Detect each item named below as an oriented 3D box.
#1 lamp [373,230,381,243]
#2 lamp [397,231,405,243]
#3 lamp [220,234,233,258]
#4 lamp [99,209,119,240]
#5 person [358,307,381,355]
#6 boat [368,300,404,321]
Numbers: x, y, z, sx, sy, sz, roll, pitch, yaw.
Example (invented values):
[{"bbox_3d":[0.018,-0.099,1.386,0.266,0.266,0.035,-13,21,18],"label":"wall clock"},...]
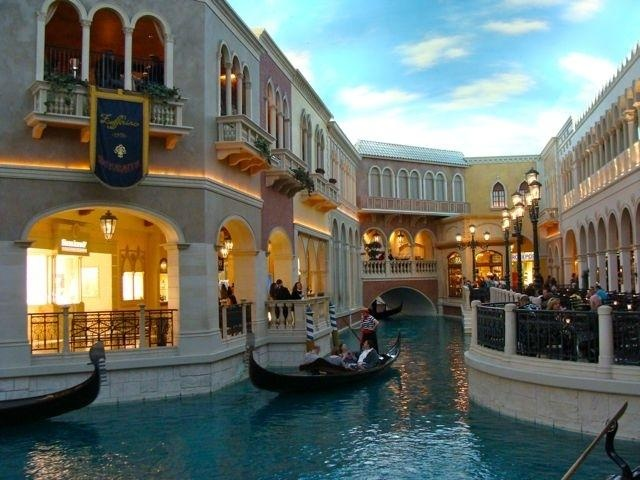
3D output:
[{"bbox_3d":[4.049,-0.242,38.970,0.594,1.115,0.630,-1,-3,17],"label":"lamp"},{"bbox_3d":[5.833,-0.301,39.321,0.500,0.910,0.532,-3,-5,3],"label":"lamp"},{"bbox_3d":[-3.443,0.200,19.564,0.372,0.823,1.204,0,-2,-14],"label":"lamp"},{"bbox_3d":[-5.737,-0.434,14.584,0.397,0.755,0.805,0,-2,-22],"label":"lamp"},{"bbox_3d":[1.683,3.236,19.040,0.660,1.939,0.574,4,26,25],"label":"person"},{"bbox_3d":[4.550,5.137,38.053,1.869,0.701,1.946,-1,-3,-5],"label":"boat"}]
